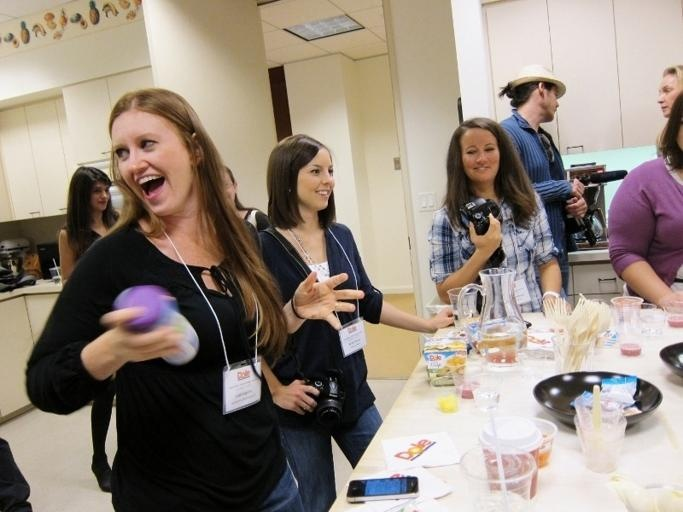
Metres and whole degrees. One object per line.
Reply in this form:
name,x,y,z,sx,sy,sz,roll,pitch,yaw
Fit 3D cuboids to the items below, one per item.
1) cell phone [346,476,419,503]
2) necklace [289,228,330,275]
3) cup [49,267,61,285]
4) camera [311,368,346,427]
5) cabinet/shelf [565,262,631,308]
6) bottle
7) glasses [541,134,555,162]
cell phone,0.115,0.615,1.289,0.160,0.028,0.079,-3,7,5
necklace,-0.128,0.005,2.150,0.076,0.221,0.119,-18,34,26
cup,-2.835,0.194,4.815,0.135,0.156,0.138,-1,-7,0
camera,-0.080,0.564,1.958,0.176,0.180,0.184,0,43,-6
cabinet/shelf,1.708,0.166,3.340,0.406,0.412,0.282,-1,5,2
bottle,-0.489,0.201,1.305,0.189,0.204,0.215,-11,5,-18
glasses,1.344,-0.703,3.180,0.060,0.199,0.112,-2,-9,4
